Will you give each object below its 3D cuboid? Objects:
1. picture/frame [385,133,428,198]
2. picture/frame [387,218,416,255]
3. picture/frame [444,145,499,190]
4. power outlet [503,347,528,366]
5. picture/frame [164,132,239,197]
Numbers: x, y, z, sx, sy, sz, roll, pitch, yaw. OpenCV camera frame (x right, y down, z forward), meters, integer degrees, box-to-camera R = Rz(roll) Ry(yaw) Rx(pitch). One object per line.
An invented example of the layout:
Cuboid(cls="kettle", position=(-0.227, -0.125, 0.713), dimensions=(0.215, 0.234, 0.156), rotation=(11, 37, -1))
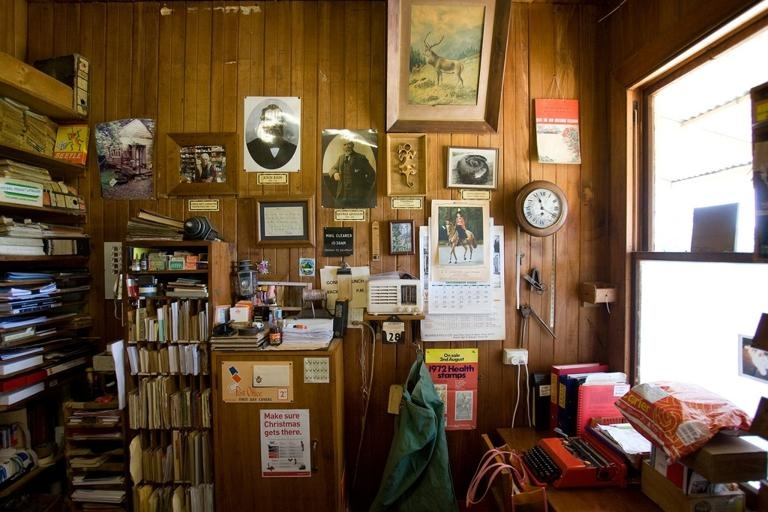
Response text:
Cuboid(cls="picture/frame", position=(0.161, -0.667, 4.600), dimensions=(0.308, 0.451, 0.132), rotation=(-1, 3, -1))
Cuboid(cls="picture/frame", position=(0.111, -0.140, 4.527), dimensions=(0.253, 0.351, 0.036), rotation=(0, -1, -7))
Cuboid(cls="picture/frame", position=(0.624, -0.650, 4.543), dimensions=(0.355, 0.327, 0.027), rotation=(0, -1, 0))
Cuboid(cls="power outlet", position=(0.956, 0.736, 4.521), dimensions=(0.148, 0.107, 0.117), rotation=(0, 3, 2))
Cuboid(cls="picture/frame", position=(-1.345, -0.677, 4.524), dimensions=(0.434, 0.395, 0.051), rotation=(0, 1, -1))
